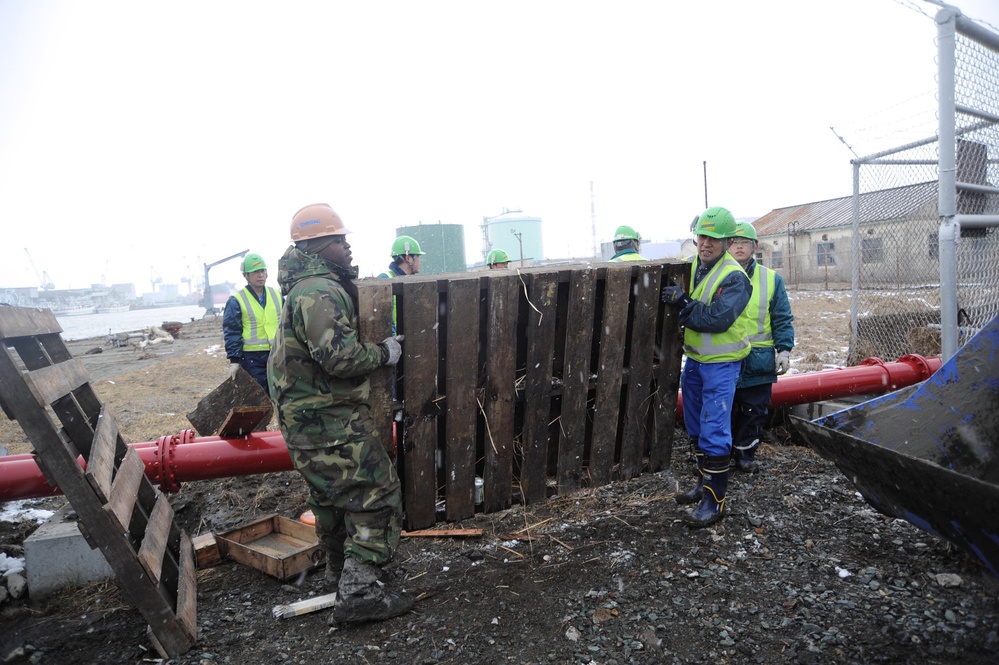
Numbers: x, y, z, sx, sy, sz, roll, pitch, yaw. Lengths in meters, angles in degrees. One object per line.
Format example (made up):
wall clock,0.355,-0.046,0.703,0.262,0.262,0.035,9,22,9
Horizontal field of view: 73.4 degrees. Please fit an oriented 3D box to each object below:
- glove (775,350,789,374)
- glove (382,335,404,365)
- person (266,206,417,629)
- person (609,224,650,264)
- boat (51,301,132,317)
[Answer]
glove,2.497,0.272,5.913,0.099,0.219,0.171,-4,9,20
glove,-0.763,0.117,4.795,0.135,0.148,0.186,8,23,-36
person,-1.120,0.534,4.687,0.874,2.874,0.636,-6,8,4
person,1.585,-1.142,8.341,0.330,0.375,0.923,-5,8,10
boat,-51.779,-2.961,84.215,5.182,0.595,33.934,-13,10,-34
